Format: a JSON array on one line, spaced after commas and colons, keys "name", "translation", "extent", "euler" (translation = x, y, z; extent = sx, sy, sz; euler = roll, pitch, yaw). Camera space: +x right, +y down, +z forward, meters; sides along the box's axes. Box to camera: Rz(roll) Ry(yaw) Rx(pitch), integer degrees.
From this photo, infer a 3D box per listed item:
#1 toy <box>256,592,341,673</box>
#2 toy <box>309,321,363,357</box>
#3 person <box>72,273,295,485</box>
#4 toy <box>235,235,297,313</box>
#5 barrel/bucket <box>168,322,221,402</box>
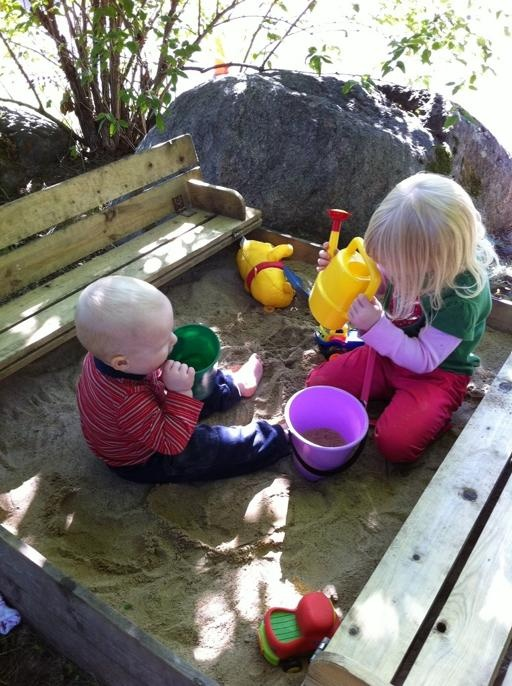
[{"name": "toy", "translation": [0.094, 0.702, 1.459], "extent": [0.246, 0.161, 0.146], "euler": [-16, 52, -11]}, {"name": "toy", "translation": [0.344, -0.015, 2.449], "extent": [0.197, 0.071, 0.099], "euler": [1, 56, 5]}, {"name": "person", "translation": [-0.237, 0.125, 1.788], "extent": [0.600, 0.735, 0.247], "euler": [-9, 30, -19]}, {"name": "toy", "translation": [0.042, -0.329, 2.822], "extent": [0.264, 0.163, 0.353], "euler": [-28, 62, -24]}, {"name": "barrel/bucket", "translation": [-0.221, 0.074, 2.057], "extent": [0.208, 0.199, 0.182], "euler": [-32, 63, -25]}]
